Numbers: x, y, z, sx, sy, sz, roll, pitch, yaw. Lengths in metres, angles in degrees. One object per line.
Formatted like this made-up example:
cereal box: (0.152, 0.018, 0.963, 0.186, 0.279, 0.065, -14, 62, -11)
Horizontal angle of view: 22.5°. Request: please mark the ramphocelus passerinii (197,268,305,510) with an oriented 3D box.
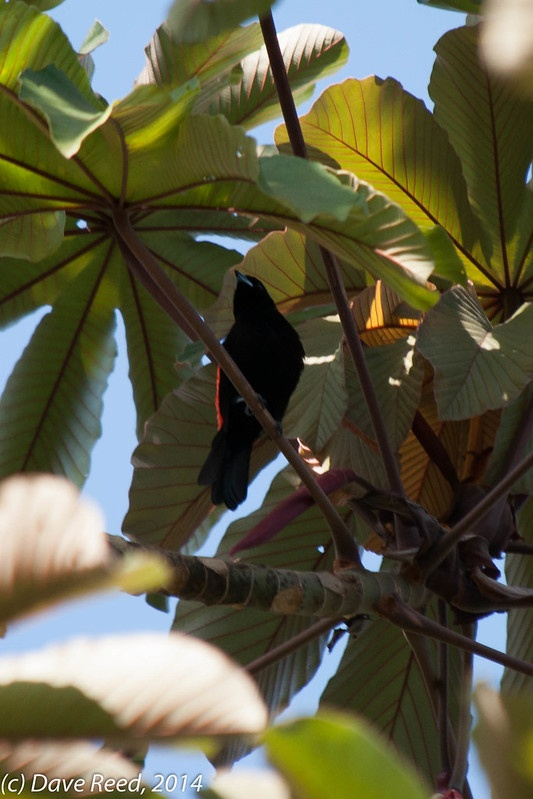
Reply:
ramphocelus passerinii: (-0.024, -0.036, 3.212, 0.236, 0.554, 0.267, 13, 5, -16)
